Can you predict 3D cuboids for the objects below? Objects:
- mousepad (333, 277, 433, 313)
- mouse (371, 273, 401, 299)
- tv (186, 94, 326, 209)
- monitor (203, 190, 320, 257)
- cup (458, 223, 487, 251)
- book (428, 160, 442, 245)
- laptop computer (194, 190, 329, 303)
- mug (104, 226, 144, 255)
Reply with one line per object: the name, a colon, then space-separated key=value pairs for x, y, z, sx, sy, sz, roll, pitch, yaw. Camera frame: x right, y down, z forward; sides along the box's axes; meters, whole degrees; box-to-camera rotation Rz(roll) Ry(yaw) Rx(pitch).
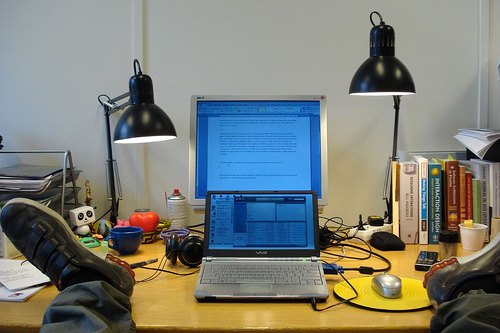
mousepad: x=0.472 y=0.449 z=1.526 sx=0.155 sy=0.006 sz=0.156 roll=-1 pitch=11 yaw=3
mouse: x=0.495 y=0.416 z=1.573 sx=0.100 sy=0.067 sz=0.175 roll=-5 pitch=0 yaw=2
tv: x=0.043 y=-0.052 z=1.884 sx=0.492 sy=0.409 sz=0.054 roll=1 pitch=0 yaw=0
monitor: x=0.056 y=0.219 z=1.867 sx=0.367 sy=0.248 sz=0.463 roll=0 pitch=2 yaw=5
cup: x=0.934 y=0.295 z=1.819 sx=0.102 sy=0.079 sz=0.102 roll=0 pitch=1 yaw=0
book: x=0.768 y=0.163 z=1.883 sx=0.100 sy=0.297 sz=0.102 roll=0 pitch=1 yaw=3
laptop computer: x=0.042 y=0.293 z=1.790 sx=0.560 sy=0.344 sz=0.503 roll=0 pitch=3 yaw=0
mug: x=-0.531 y=0.287 z=1.872 sx=0.174 sy=0.106 sz=0.158 roll=-4 pitch=15 yaw=-27
